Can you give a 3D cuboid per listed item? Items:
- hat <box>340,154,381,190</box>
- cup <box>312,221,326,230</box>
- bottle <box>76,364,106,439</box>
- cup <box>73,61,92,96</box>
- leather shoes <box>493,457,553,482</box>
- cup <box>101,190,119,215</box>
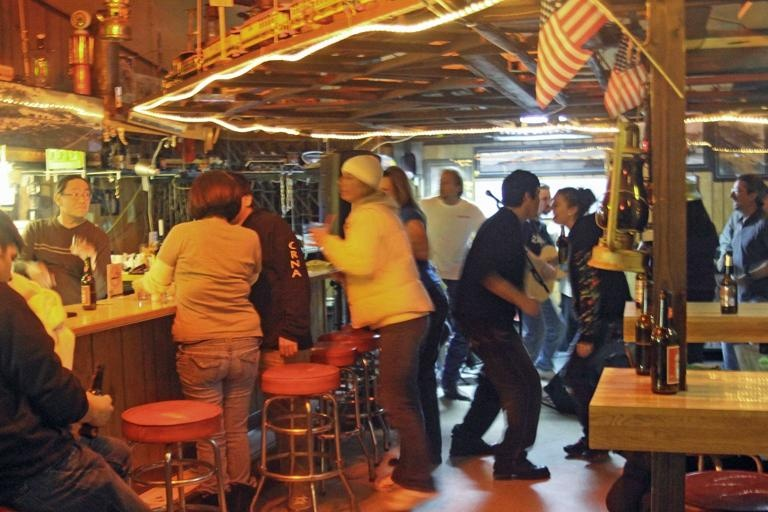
[{"bbox_3d":[-0.129,-0.589,4.927,0.282,0.197,0.230,4,0,26],"label":"hat"},{"bbox_3d":[-0.460,-0.223,5.095,0.105,0.056,0.098,0,2,0],"label":"cup"},{"bbox_3d":[-1.535,0.768,3.737,0.112,0.381,0.293,-2,10,-11],"label":"bottle"},{"bbox_3d":[-3.384,-2.000,7.941,0.204,0.318,0.268,-3,10,-21],"label":"cup"},{"bbox_3d":[1.027,1.632,5.434,0.520,0.201,0.161,-2,-2,-1],"label":"leather shoes"},{"bbox_3d":[-3.853,-0.748,9.908,0.260,0.318,0.128,2,5,-22],"label":"cup"}]
